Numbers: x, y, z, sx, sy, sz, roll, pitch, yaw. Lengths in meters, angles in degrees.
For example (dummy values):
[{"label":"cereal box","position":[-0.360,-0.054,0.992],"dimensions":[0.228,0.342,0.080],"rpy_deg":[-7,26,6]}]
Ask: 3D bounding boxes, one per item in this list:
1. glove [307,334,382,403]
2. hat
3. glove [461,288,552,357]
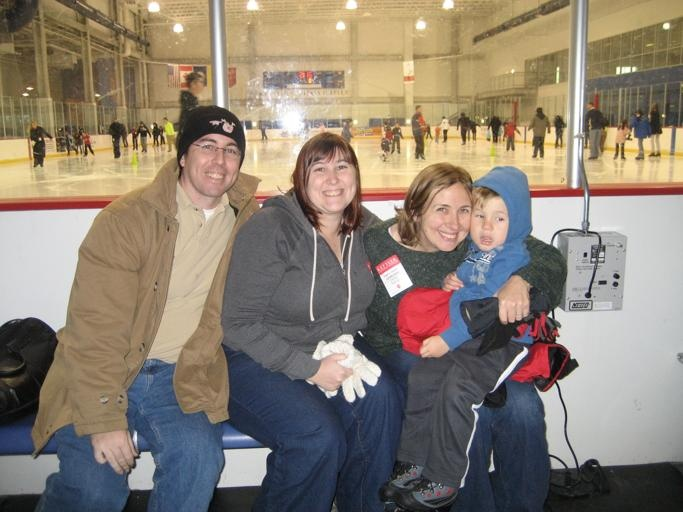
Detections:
[{"label":"glove","position":[0.023,0.557,2.838],"dimensions":[0.310,0.315,0.133],"rpy_deg":[-27,-2,-20]},{"label":"hat","position":[-0.675,-0.648,2.966],"dimensions":[0.295,0.256,0.280],"rpy_deg":[-13,-15,35]},{"label":"glove","position":[0.804,0.336,2.767],"dimensions":[0.307,0.142,0.312],"rpy_deg":[-9,25,-10]}]
